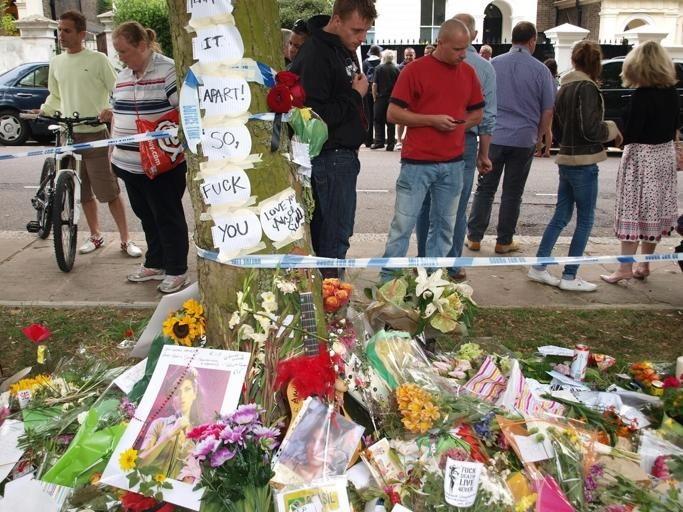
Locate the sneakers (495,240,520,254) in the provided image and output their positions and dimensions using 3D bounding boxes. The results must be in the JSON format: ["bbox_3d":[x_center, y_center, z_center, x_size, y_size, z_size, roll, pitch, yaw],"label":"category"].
[{"bbox_3d":[1.893,-0.085,5.949,0.306,0.129,0.116,-13,28,-23],"label":"sneakers"}]

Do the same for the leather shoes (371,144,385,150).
[{"bbox_3d":[0.932,-2.824,13.415,0.314,0.133,0.126,2,10,-1],"label":"leather shoes"}]

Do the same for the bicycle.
[{"bbox_3d":[-2.882,-0.707,5.367,0.964,1.302,2.102,5,13,-25],"label":"bicycle"}]

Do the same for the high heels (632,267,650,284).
[{"bbox_3d":[3.068,0.188,5.304,0.084,0.124,0.250,-7,24,-6],"label":"high heels"}]

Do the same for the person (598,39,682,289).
[{"bbox_3d":[2.921,-0.854,4.979,0.637,2.286,0.577,8,19,25],"label":"person"}]

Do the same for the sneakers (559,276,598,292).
[{"bbox_3d":[2.276,0.268,5.063,0.369,0.147,0.137,-1,11,2],"label":"sneakers"}]

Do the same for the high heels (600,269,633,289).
[{"bbox_3d":[2.776,0.229,5.253,0.349,0.175,0.122,11,11,31],"label":"high heels"}]

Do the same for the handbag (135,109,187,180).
[{"bbox_3d":[-1.500,-1.017,4.346,0.202,0.536,0.513,25,53,16],"label":"handbag"}]

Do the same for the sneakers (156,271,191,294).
[{"bbox_3d":[-1.491,0.237,4.622,0.096,0.117,0.249,35,31,20],"label":"sneakers"}]

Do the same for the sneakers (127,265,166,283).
[{"bbox_3d":[-1.887,0.176,5.136,0.411,0.195,0.150,2,7,-21],"label":"sneakers"}]

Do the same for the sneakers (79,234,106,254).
[{"bbox_3d":[-2.865,-0.130,5.967,0.109,0.130,0.319,5,8,12],"label":"sneakers"}]

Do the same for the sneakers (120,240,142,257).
[{"bbox_3d":[-2.339,-0.087,5.781,0.129,0.124,0.352,-32,27,-24],"label":"sneakers"}]

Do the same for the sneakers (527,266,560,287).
[{"bbox_3d":[2.023,0.213,5.241,0.355,0.151,0.132,18,15,-6],"label":"sneakers"}]
